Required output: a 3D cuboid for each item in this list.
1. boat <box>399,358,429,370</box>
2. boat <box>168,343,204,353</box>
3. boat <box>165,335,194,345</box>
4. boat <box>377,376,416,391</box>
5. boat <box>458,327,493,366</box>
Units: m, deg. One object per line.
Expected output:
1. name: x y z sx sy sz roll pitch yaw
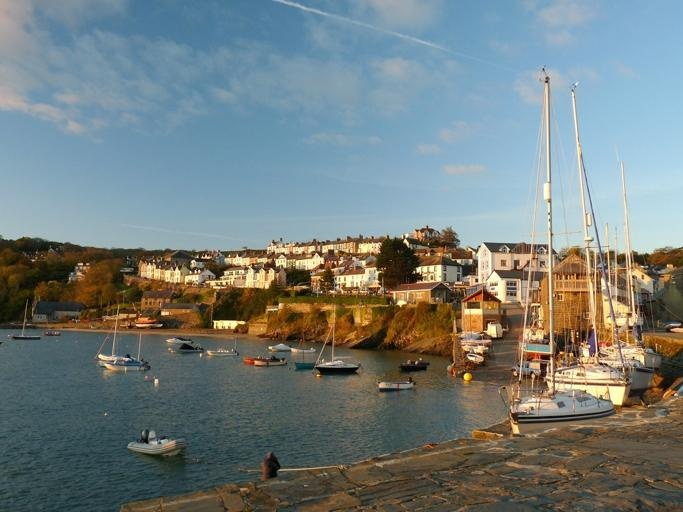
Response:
1. boat: 8.354 12.652 62.180 2.574 1.123 1.543 -1 -1 -2
2. boat: -26.304 15.691 90.771 4.495 1.524 3.288 3 -6 13
3. boat: -31.649 16.410 105.379 4.529 1.493 2.221 6 -9 4
4. boat: 5.144 12.487 51.701 2.887 1.133 1.605 -8 -7 11
5. boat: 15.616 10.624 62.860 1.796 2.510 6.343 -1 -2 4
